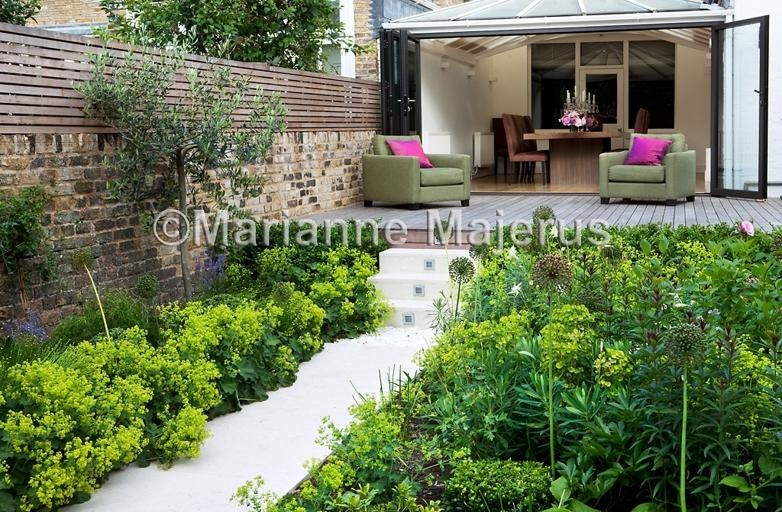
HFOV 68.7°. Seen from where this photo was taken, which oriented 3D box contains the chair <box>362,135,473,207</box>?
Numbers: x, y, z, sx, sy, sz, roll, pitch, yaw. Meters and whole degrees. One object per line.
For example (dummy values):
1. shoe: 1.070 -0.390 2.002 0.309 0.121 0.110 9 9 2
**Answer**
1. chair: 0.447 -1.280 9.618 1.317 1.289 1.465 4 7 39
